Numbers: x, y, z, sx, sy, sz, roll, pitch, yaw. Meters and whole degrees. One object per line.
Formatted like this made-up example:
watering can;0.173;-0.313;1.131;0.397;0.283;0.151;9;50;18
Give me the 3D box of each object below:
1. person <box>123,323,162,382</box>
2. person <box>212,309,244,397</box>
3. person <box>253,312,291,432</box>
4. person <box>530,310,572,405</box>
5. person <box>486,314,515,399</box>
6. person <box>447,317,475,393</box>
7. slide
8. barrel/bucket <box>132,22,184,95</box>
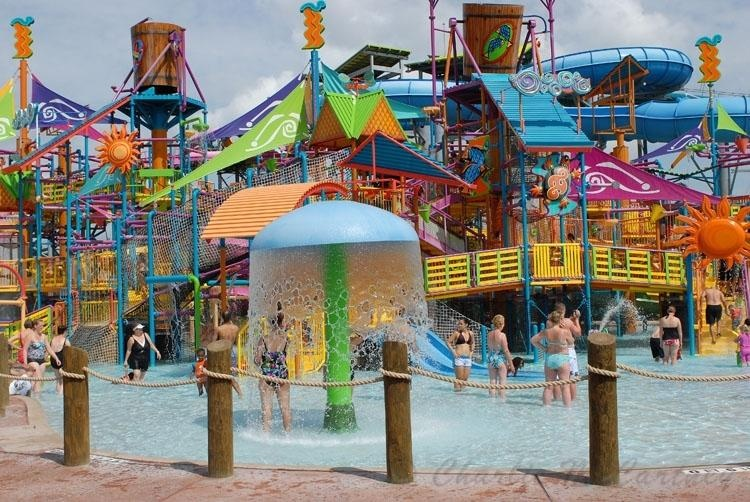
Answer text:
person;-5.613;2.538;23.063;0.851;1.652;0.593;-3;14;-12
person;-3.419;2.400;21.926;0.686;2.006;0.733;-1;7;-11
person;-1.910;2.245;17.802;0.604;2.260;0.649;-1;-4;-6
person;3.683;2.143;19.913;1.001;2.272;0.940;1;3;4
person;2.676;2.412;20.908;0.439;1.952;0.605;-2;3;-43
person;1.937;2.435;21.280;0.656;1.838;0.436;1;4;-16
slide;8.812;-6.897;42.550;14.073;2.577;8.314;4;4;28
barrel/bucket;-7.806;-6.985;34.535;1.798;2.469;0.784;-1;-4;-13
